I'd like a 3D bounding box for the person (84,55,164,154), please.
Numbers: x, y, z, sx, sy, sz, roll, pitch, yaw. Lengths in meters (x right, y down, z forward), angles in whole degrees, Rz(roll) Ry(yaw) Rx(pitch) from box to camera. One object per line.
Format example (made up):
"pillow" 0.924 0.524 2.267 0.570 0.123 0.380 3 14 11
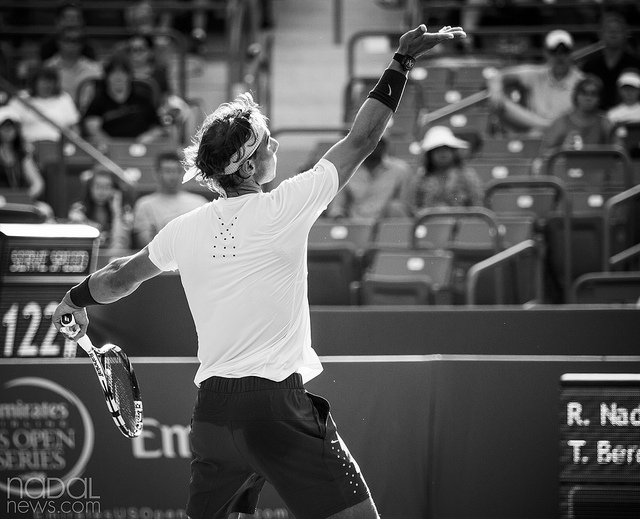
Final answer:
"person" -2.856 -2.103 16.628 0.791 1.578 0.672 7 17 26

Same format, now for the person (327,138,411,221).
"person" 0.497 -0.749 12.057 0.695 0.968 0.321 25 -3 24

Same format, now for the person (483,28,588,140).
"person" 2.998 -2.280 15.871 1.068 1.620 0.685 7 14 20

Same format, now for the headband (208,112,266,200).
"headband" -0.558 -0.716 8.142 0.370 0.529 0.126 5 -11 45

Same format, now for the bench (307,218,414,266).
"bench" 0.444 -0.258 12.575 1.190 0.831 0.477 2 7 11

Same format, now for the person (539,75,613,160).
"person" 3.290 -1.495 14.682 0.793 1.621 0.545 7 -28 9

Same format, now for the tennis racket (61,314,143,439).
"tennis racket" -1.633 0.907 8.738 0.550 0.933 0.561 2 8 -11
